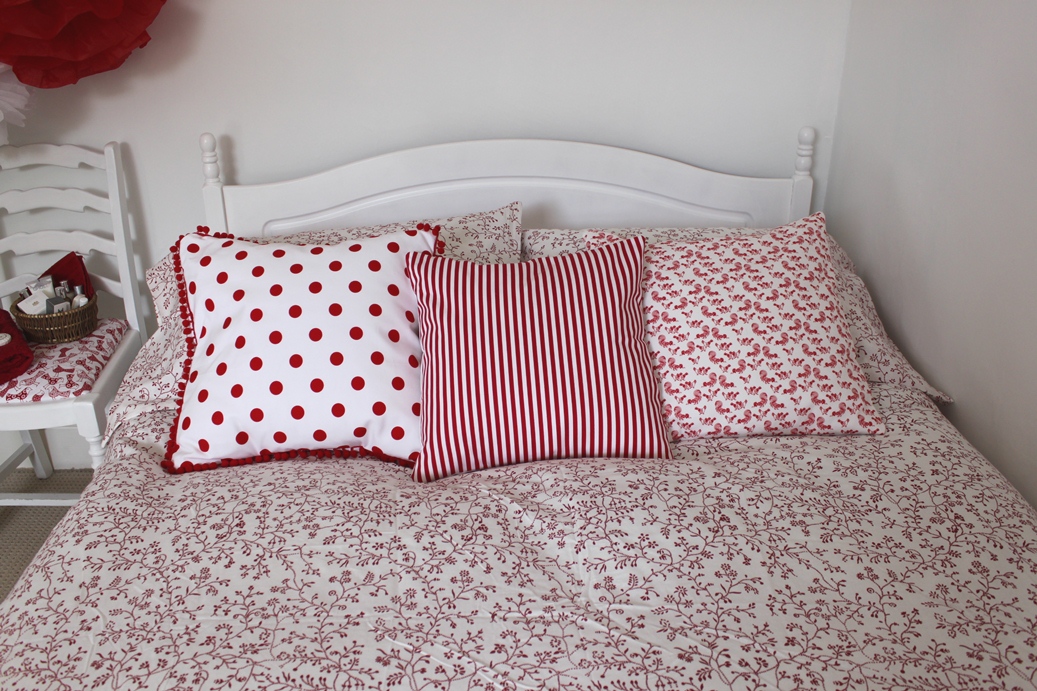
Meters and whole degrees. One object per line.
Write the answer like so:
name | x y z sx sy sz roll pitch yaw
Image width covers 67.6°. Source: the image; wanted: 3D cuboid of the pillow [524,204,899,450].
pillow | 0.634 -0.026 2.192 0.842 0.544 0.233 -5 -7 -1

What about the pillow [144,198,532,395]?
pillow | -0.532 -0.141 2.473 1.010 0.225 0.566 -11 52 -4

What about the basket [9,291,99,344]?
basket | -1.518 -0.097 2.524 0.205 0.074 0.168 8 30 19
